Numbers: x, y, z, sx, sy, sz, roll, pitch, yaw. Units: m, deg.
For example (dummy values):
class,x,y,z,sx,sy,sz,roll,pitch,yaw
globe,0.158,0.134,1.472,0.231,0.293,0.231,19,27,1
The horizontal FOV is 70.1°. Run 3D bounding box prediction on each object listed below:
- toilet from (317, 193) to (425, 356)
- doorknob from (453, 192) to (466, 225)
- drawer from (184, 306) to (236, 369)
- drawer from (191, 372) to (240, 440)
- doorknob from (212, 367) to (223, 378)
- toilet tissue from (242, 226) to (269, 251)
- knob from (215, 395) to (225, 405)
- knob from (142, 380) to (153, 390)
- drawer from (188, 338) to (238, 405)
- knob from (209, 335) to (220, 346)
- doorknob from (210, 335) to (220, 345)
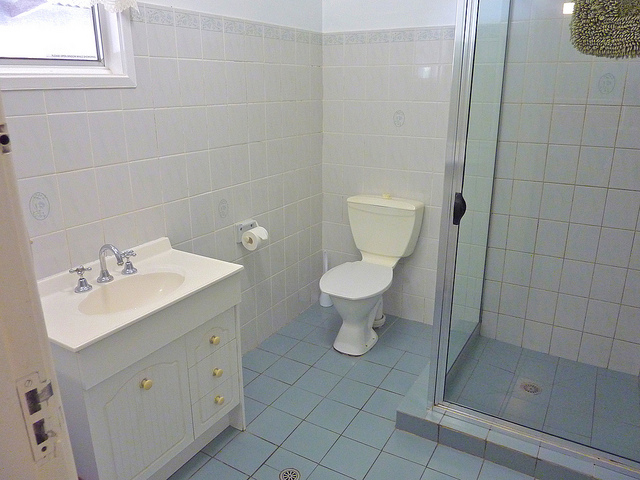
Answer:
class,x,y,z,sx,sy,sz,roll,pitch,yaw
toilet,0.344,0.252,3.108,0.518,0.897,0.820,9,29,23
doorknob,0.647,-0.151,2.116,0.054,0.141,0.090,6,28,18
drawer,-0.502,0.436,2.087,0.188,0.200,0.303,7,19,30
drawer,-0.526,0.792,2.209,0.222,0.148,0.210,10,22,33
doorknob,-0.482,0.615,2.134,0.036,0.053,0.050,11,9,41
toilet tissue,-0.395,-0.010,2.814,0.163,0.120,0.116,-20,31,-30
knob,-0.483,0.762,2.194,0.042,0.043,0.045,9,-1,-32
knob,-0.684,0.566,1.794,0.035,0.037,0.020,-25,11,-36
drawer,-0.503,0.609,2.133,0.214,0.142,0.210,10,20,32
knob,-0.481,0.451,2.074,0.036,0.053,0.051,11,12,29
doorknob,-0.480,0.452,2.072,0.030,0.044,0.042,15,16,30
